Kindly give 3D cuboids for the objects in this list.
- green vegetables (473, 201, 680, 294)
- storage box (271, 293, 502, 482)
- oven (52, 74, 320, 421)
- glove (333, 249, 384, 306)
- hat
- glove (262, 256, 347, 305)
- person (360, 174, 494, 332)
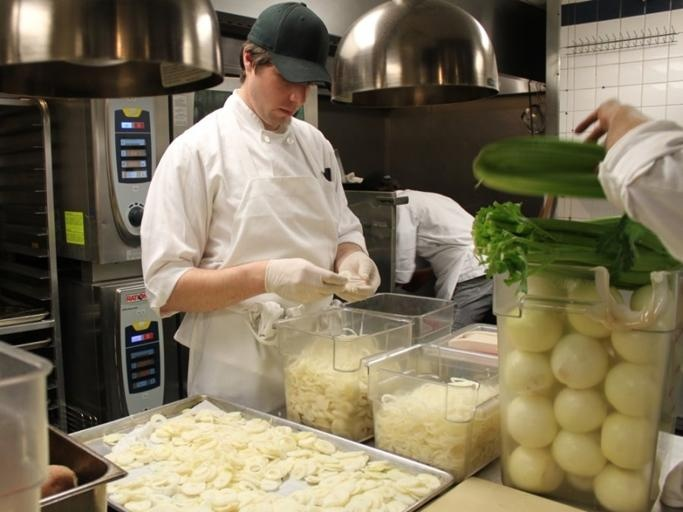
[{"bbox_3d":[0.405,-0.020,1.063,0.390,0.180,0.156,2,-1,7],"label":"green vegetables"},{"bbox_3d":[0.174,0.302,1.440,0.549,0.279,0.469,10,16,44],"label":"storage box"},{"bbox_3d":[-0.936,-0.046,2.824,0.657,1.620,0.892,4,8,38],"label":"oven"},{"bbox_3d":[0.052,0.066,1.851,0.132,0.193,0.148,-1,11,-15],"label":"glove"},{"bbox_3d":[-0.161,-0.629,1.612,0.237,0.242,0.204,-2,11,-6],"label":"hat"},{"bbox_3d":[-0.114,0.074,1.587,0.200,0.127,0.077,9,9,8],"label":"glove"},{"bbox_3d":[0.598,-0.010,3.804,0.710,1.116,0.784,4,15,-17],"label":"person"}]
